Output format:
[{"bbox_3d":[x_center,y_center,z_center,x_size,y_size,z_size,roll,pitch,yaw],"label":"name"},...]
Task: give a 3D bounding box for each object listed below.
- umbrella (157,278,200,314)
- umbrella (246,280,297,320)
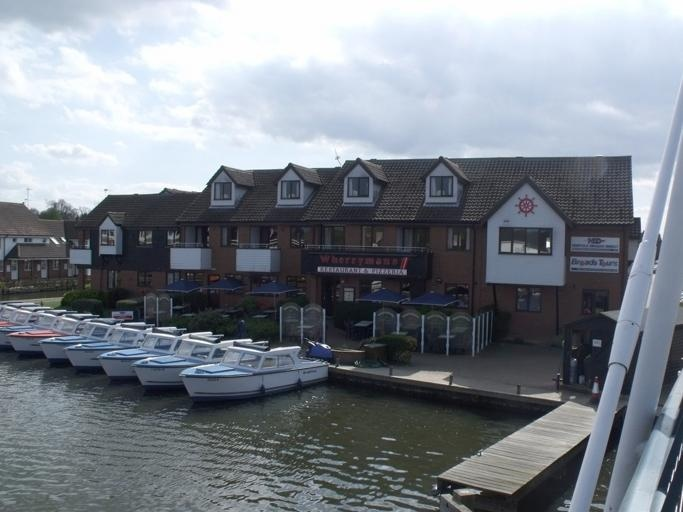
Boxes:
[{"bbox_3d":[-10.921,2.731,54.305,2.461,1.611,2.324,-1,5,4],"label":"umbrella"},{"bbox_3d":[-4.484,2.822,50.624,2.306,1.483,2.312,-1,1,20],"label":"umbrella"}]
